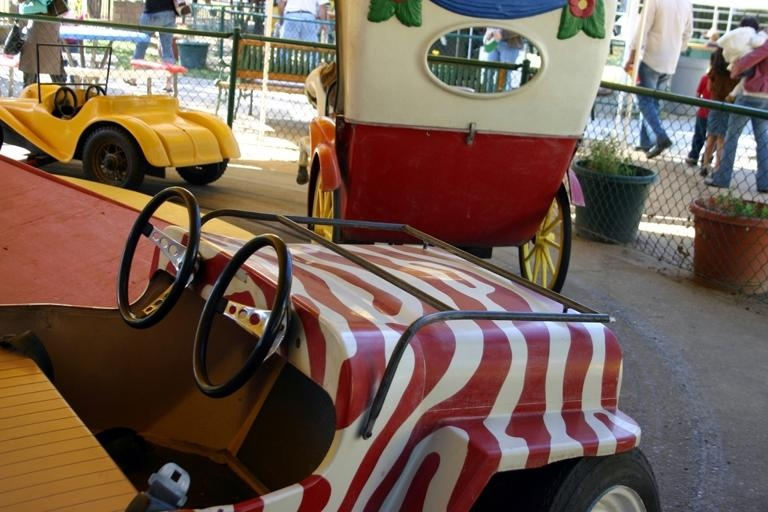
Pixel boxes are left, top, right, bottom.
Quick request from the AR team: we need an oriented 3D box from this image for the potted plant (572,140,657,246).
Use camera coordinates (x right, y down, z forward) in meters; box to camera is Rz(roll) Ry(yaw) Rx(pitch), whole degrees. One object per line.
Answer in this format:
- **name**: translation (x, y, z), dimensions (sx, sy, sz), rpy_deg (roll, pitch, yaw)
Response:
- **potted plant**: translation (2.409, -0.350, 6.534), dimensions (0.632, 0.984, 0.871), rpy_deg (-3, 3, 28)

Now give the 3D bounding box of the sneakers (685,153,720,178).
- **sneakers**: translation (4.510, -1.287, 8.840), dimensions (0.148, 0.247, 0.535), rpy_deg (-7, 27, -14)

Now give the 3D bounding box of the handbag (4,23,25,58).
- **handbag**: translation (-4.580, -2.701, 7.661), dimensions (0.234, 0.341, 0.585), rpy_deg (-5, 22, -31)
